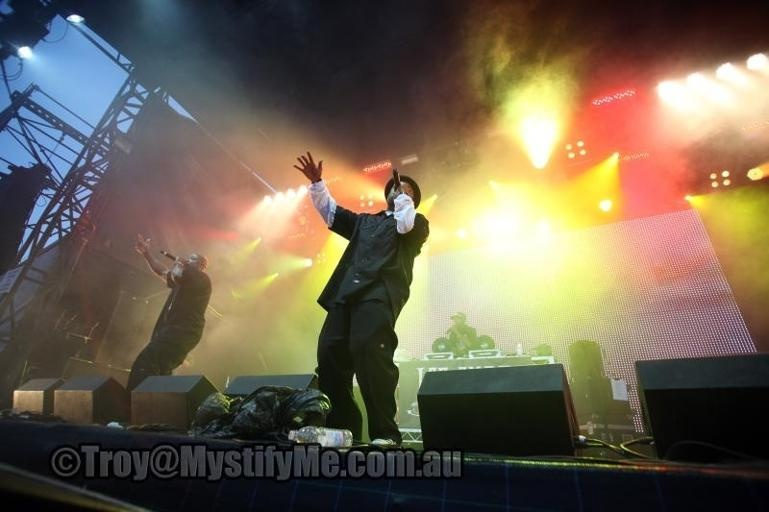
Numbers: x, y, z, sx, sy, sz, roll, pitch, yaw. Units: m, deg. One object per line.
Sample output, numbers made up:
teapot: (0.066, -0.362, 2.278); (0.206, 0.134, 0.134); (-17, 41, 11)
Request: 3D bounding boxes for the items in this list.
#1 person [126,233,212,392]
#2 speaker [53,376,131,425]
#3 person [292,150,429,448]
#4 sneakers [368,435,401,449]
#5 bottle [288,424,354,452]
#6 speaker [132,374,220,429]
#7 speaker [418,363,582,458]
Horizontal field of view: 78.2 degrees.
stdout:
person: (-3.176, 0.824, 7.110); (0.957, 2.349, 1.548); (13, -25, -26)
speaker: (-3.665, 1.752, 5.914); (0.717, 0.502, 0.517); (-4, -8, 25)
person: (-0.210, 0.331, 5.253); (1.346, 3.237, 0.748); (0, -22, 5)
sneakers: (0.009, 1.828, 4.689); (0.329, 0.111, 0.229); (-4, -19, 12)
bottle: (-0.572, 1.705, 4.557); (0.700, 0.165, 0.272); (16, -26, -32)
speaker: (-2.443, 1.652, 5.493); (0.851, 0.543, 0.607); (-6, -10, 23)
speaker: (1.167, 1.443, 4.827); (1.117, 0.692, 0.988); (-8, -53, 14)
